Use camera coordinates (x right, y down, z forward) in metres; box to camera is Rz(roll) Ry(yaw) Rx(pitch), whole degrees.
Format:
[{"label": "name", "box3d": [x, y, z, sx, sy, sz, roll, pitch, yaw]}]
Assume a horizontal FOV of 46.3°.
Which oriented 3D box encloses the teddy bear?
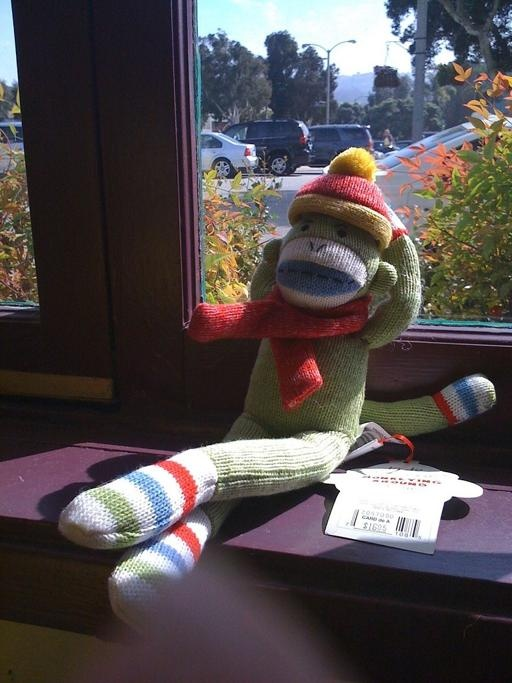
[{"label": "teddy bear", "box3d": [0.019, -0.015, 0.871, 0.702, 0.509, 0.326, -13, 22, -34]}]
